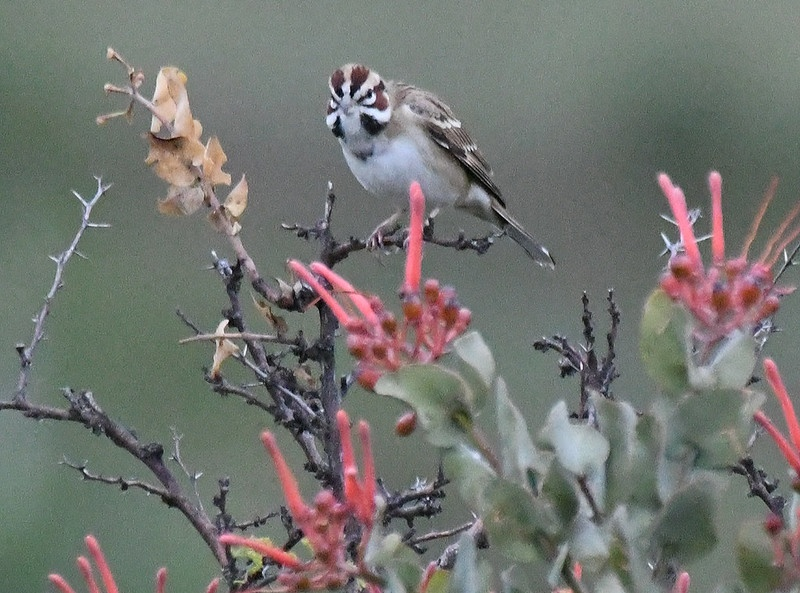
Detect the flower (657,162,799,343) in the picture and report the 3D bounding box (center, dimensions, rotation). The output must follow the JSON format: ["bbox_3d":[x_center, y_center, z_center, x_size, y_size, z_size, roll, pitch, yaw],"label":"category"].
[{"bbox_3d":[0.487,-0.064,2.001,0.206,0.267,0.209,-9,-8,14],"label":"flower"}]

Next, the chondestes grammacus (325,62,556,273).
[{"bbox_3d":[0.137,-0.431,4.489,0.917,0.638,0.341,-1,9,-44],"label":"chondestes grammacus"}]

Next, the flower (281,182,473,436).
[{"bbox_3d":[-0.028,0.032,2.089,0.223,0.398,0.372,-4,-8,-20],"label":"flower"}]
